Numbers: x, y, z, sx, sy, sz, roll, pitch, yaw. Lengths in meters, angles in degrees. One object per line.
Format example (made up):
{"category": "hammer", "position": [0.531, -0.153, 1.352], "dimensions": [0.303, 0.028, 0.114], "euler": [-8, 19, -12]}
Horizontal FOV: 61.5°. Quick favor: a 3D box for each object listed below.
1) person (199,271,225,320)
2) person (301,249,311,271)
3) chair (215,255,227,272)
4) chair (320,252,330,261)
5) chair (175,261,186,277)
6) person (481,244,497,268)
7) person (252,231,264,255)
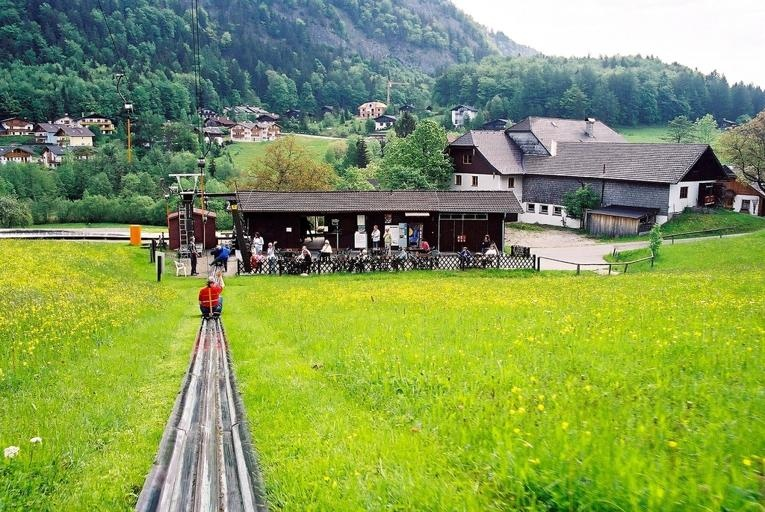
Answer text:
{"category": "person", "position": [-6.532, 1.746, 24.838], "dimensions": [0.750, 2.144, 1.447], "euler": [3, 14, 3]}
{"category": "person", "position": [-5.414, 0.249, 46.152], "dimensions": [0.694, 1.564, 1.126], "euler": [0, 5, -7]}
{"category": "chair", "position": [-11.105, 0.467, 44.128], "dimensions": [0.894, 1.287, 0.670], "euler": [-2, 18, -22]}
{"category": "chair", "position": [-4.084, 0.020, 46.038], "dimensions": [0.821, 0.496, 0.628], "euler": [4, -35, -3]}
{"category": "chair", "position": [-14.495, 0.976, 46.025], "dimensions": [0.894, 1.335, 0.911], "euler": [-3, 2, 3]}
{"category": "person", "position": [8.001, 0.192, 48.432], "dimensions": [1.167, 1.274, 1.087], "euler": [0, 5, -2]}
{"category": "person", "position": [-9.565, -0.872, 49.349], "dimensions": [0.881, 1.686, 3.273], "euler": [-1, 6, -12]}
